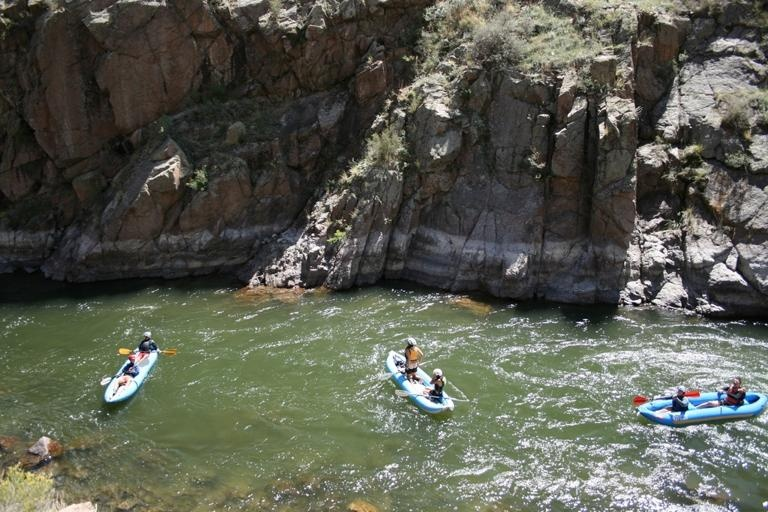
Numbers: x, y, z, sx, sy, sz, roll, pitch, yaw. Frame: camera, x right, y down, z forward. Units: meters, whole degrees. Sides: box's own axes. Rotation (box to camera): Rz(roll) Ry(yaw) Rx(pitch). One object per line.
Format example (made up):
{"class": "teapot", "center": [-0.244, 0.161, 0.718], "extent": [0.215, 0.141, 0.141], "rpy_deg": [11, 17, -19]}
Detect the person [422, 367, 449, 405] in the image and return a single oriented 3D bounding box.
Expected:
{"class": "person", "center": [1.977, 5.102, 30.761], "extent": [0.783, 1.362, 0.594], "rpy_deg": [11, 17, 14]}

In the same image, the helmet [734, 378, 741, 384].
{"class": "helmet", "center": [13.735, 4.866, 30.179], "extent": [0.185, 0.241, 0.214], "rpy_deg": [18, -9, -41]}

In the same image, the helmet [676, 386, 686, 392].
{"class": "helmet", "center": [11.526, 5.145, 30.129], "extent": [0.227, 0.300, 0.269], "rpy_deg": [6, -26, -2]}

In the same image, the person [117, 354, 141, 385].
{"class": "person", "center": [-10.394, 4.655, 31.445], "extent": [0.504, 0.413, 1.217], "rpy_deg": [-13, 35, 12]}

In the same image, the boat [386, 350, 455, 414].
{"class": "boat", "center": [1.163, 5.161, 31.134], "extent": [1.207, 0.748, 3.719], "rpy_deg": [-16, 42, -27]}

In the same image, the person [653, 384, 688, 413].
{"class": "person", "center": [11.350, 5.596, 30.011], "extent": [0.726, 0.594, 1.287], "rpy_deg": [8, 32, 27]}

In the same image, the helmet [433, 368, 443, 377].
{"class": "helmet", "center": [2.098, 4.677, 30.640], "extent": [0.277, 0.343, 0.300], "rpy_deg": [-6, 23, -1]}

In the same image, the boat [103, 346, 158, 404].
{"class": "boat", "center": [-10.291, 4.972, 31.640], "extent": [1.059, 0.460, 2.729], "rpy_deg": [10, 40, 4]}

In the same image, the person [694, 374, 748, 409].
{"class": "person", "center": [13.244, 5.595, 30.428], "extent": [1.779, 1.027, 1.003], "rpy_deg": [-20, 16, 18]}

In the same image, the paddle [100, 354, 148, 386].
{"class": "paddle", "center": [-10.443, 4.384, 31.373], "extent": [1.034, 0.389, 1.518], "rpy_deg": [-1, 48, 23]}

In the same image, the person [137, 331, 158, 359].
{"class": "person", "center": [-10.077, 3.816, 32.926], "extent": [0.810, 0.467, 1.196], "rpy_deg": [-5, 53, -13]}

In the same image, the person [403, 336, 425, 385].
{"class": "person", "center": [1.139, 4.278, 31.595], "extent": [0.679, 2.093, 0.671], "rpy_deg": [-3, 26, -9]}

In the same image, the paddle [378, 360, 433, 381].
{"class": "paddle", "center": [0.803, 4.704, 31.667], "extent": [1.522, 0.465, 0.309], "rpy_deg": [-23, -17, 28]}
